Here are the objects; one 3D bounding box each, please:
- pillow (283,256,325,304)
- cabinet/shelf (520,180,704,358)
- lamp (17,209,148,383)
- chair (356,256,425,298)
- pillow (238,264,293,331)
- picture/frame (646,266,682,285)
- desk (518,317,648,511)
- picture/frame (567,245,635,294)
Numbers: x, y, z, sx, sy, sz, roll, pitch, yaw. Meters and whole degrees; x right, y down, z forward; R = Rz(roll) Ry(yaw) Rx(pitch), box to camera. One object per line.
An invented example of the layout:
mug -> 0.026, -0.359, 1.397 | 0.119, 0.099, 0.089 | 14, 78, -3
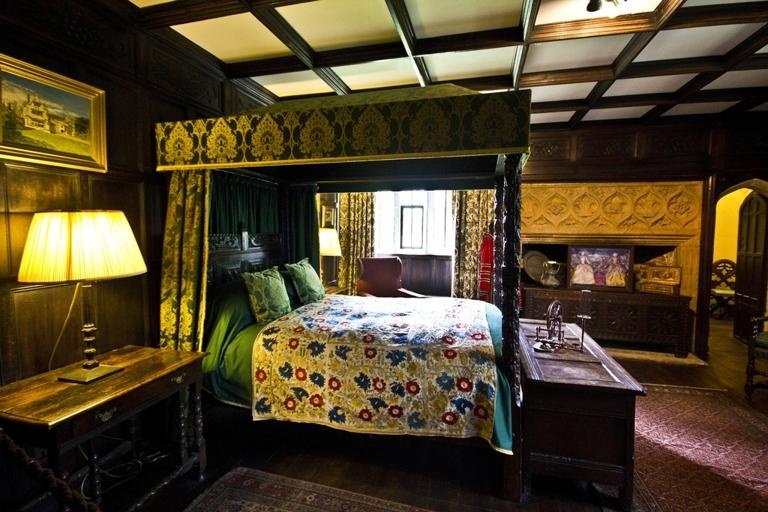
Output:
pillow -> -0.991, 0.314, 6.348 | 0.158, 0.498, 0.536 | -34, -16, 33
cabinet/shelf -> 3.419, 0.191, 7.303 | 2.711, 2.457, 0.900 | 0, -1, 17
lamp -> -2.646, 0.341, 4.474 | 0.957, 1.488, 0.438 | -1, 3, -24
chair -> 0.088, 0.355, 8.234 | 0.707, 0.929, 0.799 | -1, -2, -12
pillow -> -1.341, 0.492, 5.638 | 0.289, 0.510, 0.629 | -6, 5, 24
picture/frame -> 4.133, 0.287, 7.469 | 0.446, 0.268, 0.166 | 1, 3, 28
desk -> 1.880, 0.972, 5.202 | 1.156, 1.321, 2.789 | 0, 3, 12
picture/frame -> 3.315, 0.206, 7.616 | 0.747, 0.598, 0.070 | -1, 1, 14
